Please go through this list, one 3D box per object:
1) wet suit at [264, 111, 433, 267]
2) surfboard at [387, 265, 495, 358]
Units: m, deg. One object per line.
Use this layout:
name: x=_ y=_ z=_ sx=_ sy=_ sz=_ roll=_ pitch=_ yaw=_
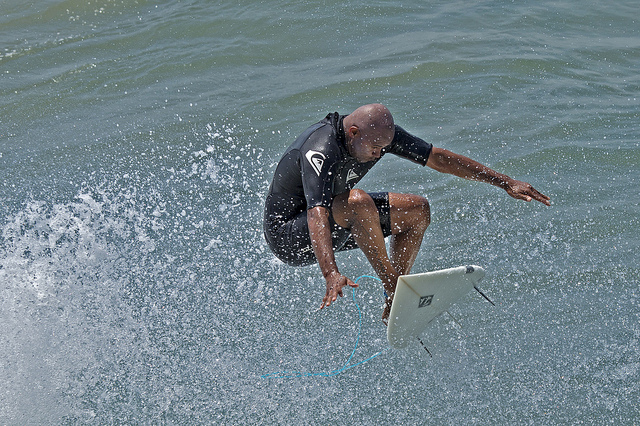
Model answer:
wet suit: x=0.167 y=-0.316 z=12.360 sx=2.261 sy=1.243 sz=1.418 roll=-41 pitch=71 yaw=-7
surfboard: x=1.332 y=1.025 z=12.155 sx=0.950 sy=1.454 sz=1.347 roll=-8 pitch=33 yaw=3
